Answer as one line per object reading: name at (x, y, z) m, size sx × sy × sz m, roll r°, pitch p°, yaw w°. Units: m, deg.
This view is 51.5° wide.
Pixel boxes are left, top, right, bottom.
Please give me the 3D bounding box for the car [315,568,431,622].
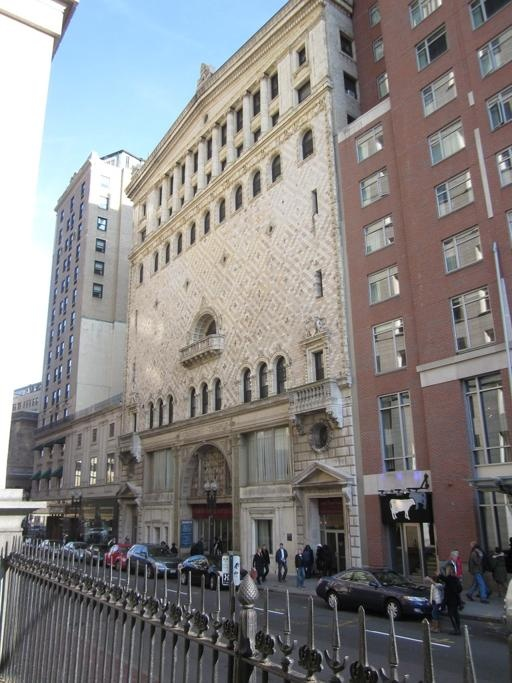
car at (3.684, 7.870, 16.361) m, size 1.391 × 1.425 × 3.616 m, roll 11°, pitch -20°, yaw -40°
